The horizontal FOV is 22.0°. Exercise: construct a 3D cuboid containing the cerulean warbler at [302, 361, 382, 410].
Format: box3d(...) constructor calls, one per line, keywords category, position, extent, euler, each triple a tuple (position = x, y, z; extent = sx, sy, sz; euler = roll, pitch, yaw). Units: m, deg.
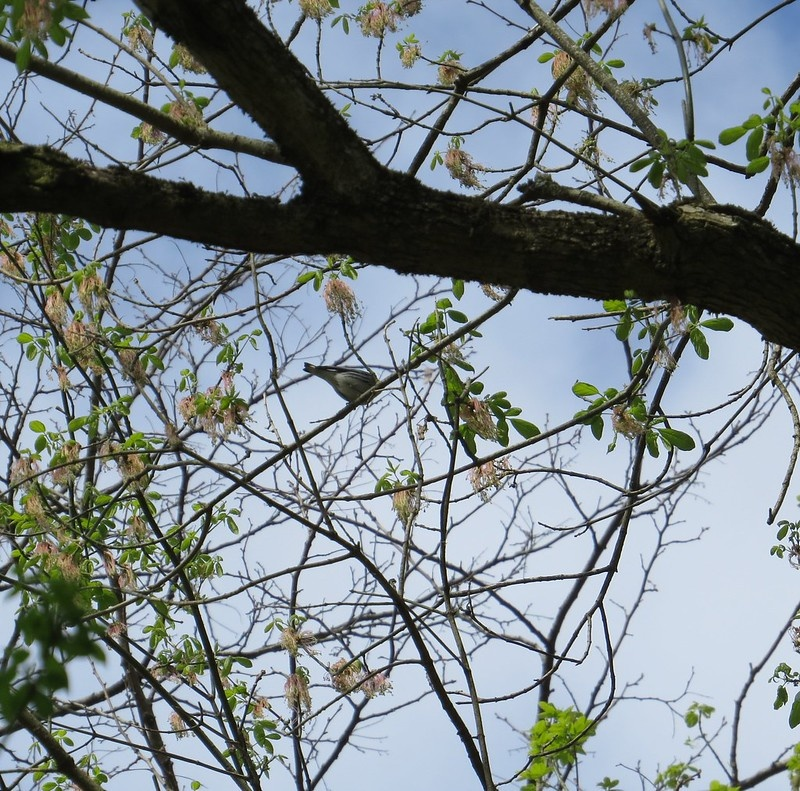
box3d(category="cerulean warbler", position=(-0.199, -0.058, 8.358), extent=(0.250, 0.158, 0.102), euler=(27, -51, 13))
